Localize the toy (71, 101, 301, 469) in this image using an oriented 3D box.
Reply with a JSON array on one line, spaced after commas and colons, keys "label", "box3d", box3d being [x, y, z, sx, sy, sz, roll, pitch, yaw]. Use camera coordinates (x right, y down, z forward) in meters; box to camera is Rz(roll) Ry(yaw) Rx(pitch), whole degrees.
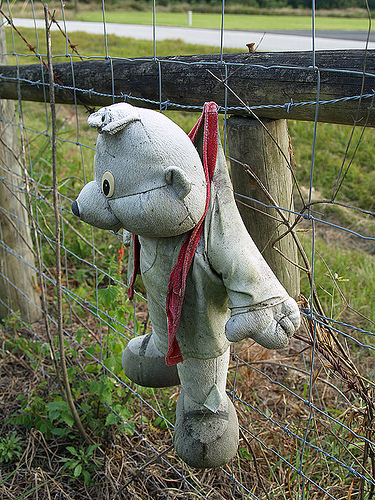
[{"label": "toy", "box3d": [-0.032, 0.132, 1.891, 0.331, 1.062, 0.648, -17, 28, -40]}]
